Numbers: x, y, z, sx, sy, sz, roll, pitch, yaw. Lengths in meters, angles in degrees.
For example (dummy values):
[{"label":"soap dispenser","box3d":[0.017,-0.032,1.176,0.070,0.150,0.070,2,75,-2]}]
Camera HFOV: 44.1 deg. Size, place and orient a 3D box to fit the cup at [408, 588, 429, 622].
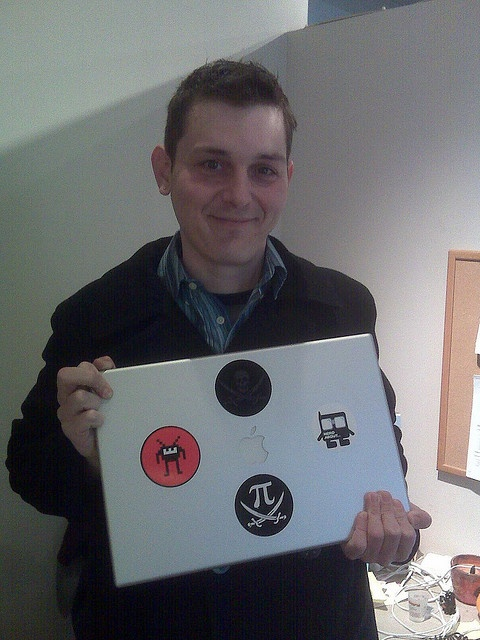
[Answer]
[{"label":"cup","box3d":[0.390,0.628,1.299,0.046,0.064,0.051,0,6,0]}]
